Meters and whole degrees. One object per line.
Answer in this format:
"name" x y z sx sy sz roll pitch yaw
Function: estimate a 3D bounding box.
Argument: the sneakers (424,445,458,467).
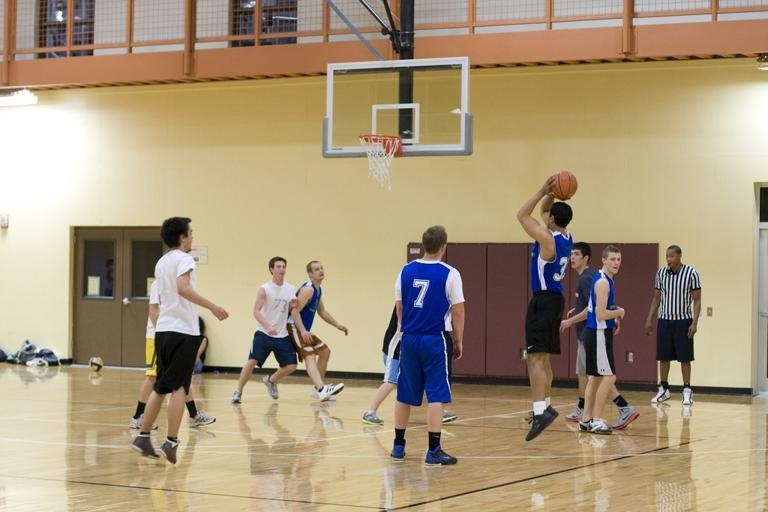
"sneakers" 0.589 2.138 9.150 0.393 0.210 0.152 1 -1 -17

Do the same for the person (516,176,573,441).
"person" 1.845 0.596 9.778 0.576 3.116 0.749 0 -2 13

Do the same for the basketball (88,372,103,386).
"basketball" -4.971 2.103 14.667 0.195 0.157 0.202 -2 -4 37

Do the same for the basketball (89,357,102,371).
"basketball" -5.334 1.992 15.705 0.225 0.257 0.255 -2 -12 3

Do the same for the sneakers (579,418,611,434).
"sneakers" 2.620 2.105 10.634 0.398 0.195 0.165 1 -3 23

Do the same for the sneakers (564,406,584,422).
"sneakers" 2.572 2.132 11.441 0.303 0.221 0.122 -1 -4 34

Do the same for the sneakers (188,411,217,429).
"sneakers" -2.310 2.074 10.838 0.360 0.197 0.139 -4 5 -11

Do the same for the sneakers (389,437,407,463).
"sneakers" 0.155 2.131 9.350 0.219 0.270 0.593 0 -3 2

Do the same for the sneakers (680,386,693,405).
"sneakers" 4.511 2.063 12.684 0.134 0.276 0.256 0 -2 16

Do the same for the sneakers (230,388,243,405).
"sneakers" -2.152 2.052 12.449 0.161 0.211 0.458 1 -9 -5

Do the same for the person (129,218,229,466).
"person" -2.179 0.883 9.102 0.844 2.635 0.702 1 -2 4

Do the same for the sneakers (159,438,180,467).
"sneakers" -2.279 2.055 9.015 0.168 0.293 0.253 1 -2 -15

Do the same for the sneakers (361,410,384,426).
"sneakers" -0.154 2.087 11.048 0.313 0.177 0.128 10 0 -6

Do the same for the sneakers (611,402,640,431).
"sneakers" 3.140 2.093 11.115 0.295 0.206 0.123 -43 -6 40

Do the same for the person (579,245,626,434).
"person" 2.656 1.187 10.439 0.459 1.983 0.560 0 -2 6

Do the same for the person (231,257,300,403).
"person" -1.685 1.068 12.245 0.859 2.100 1.119 1 -2 -9

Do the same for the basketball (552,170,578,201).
"basketball" 2.071 -0.828 9.908 0.295 0.382 0.300 7 -11 -33

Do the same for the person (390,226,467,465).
"person" 0.473 0.945 9.089 0.708 2.545 0.416 1 -2 1
